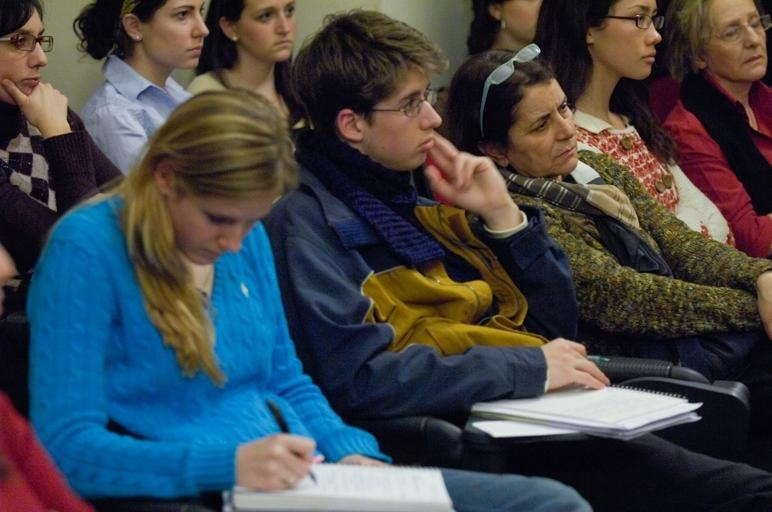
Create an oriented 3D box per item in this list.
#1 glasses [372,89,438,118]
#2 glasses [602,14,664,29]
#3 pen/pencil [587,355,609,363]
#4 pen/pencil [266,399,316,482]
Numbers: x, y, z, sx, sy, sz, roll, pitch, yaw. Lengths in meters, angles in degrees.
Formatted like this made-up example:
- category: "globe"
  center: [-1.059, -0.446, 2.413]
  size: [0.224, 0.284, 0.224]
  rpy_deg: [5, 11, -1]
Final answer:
- category: "glasses"
  center: [0.093, -0.570, 2.689]
  size: [0.161, 0.044, 0.154]
  rpy_deg: [-10, 6, 32]
- category: "glasses"
  center: [1.335, -1.244, 3.793]
  size: [0.172, 0.050, 0.169]
  rpy_deg: [1, 4, 33]
- category: "pen/pencil"
  center: [0.830, 0.406, 2.812]
  size: [0.060, 0.013, 0.013]
  rpy_deg: [4, 36, 17]
- category: "pen/pencil"
  center: [-0.257, 0.494, 1.891]
  size: [0.019, 0.177, 0.020]
  rpy_deg: [-36, -19, 11]
